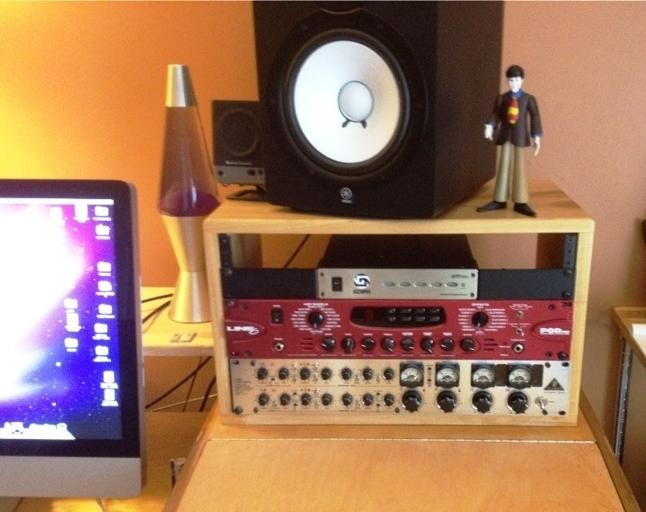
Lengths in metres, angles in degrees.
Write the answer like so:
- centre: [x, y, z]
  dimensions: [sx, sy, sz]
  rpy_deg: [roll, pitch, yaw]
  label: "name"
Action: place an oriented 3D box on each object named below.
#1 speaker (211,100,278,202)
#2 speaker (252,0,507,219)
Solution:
- centre: [-0.171, -0.231, 1.347]
  dimensions: [0.142, 0.208, 0.138]
  rpy_deg: [-6, 5, -39]
  label: "speaker"
- centre: [0.108, -0.313, 1.261]
  dimensions: [0.338, 0.414, 0.485]
  rpy_deg: [9, 20, 32]
  label: "speaker"
